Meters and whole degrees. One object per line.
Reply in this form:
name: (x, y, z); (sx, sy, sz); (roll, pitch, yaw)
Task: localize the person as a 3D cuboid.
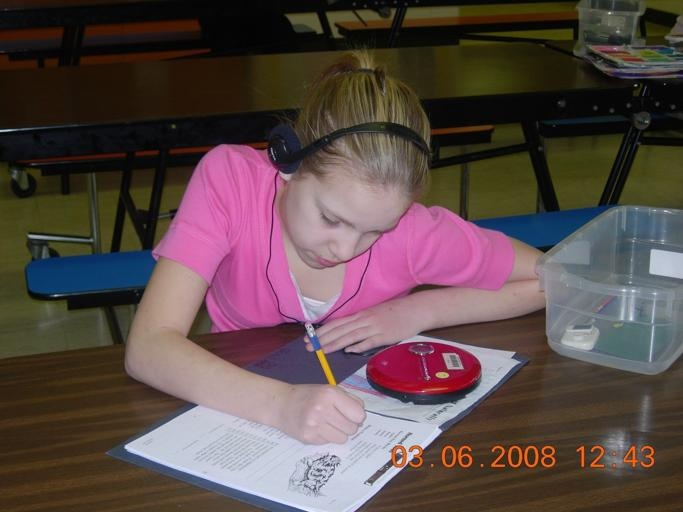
person: (-0.050, 0.006, 1.218); (0.714, 0.705, 0.585); (-5, 31, -22)

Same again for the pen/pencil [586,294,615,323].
pen/pencil: (0.440, 0.085, 1.017); (0.030, 0.078, 0.013); (-14, 65, -31)
